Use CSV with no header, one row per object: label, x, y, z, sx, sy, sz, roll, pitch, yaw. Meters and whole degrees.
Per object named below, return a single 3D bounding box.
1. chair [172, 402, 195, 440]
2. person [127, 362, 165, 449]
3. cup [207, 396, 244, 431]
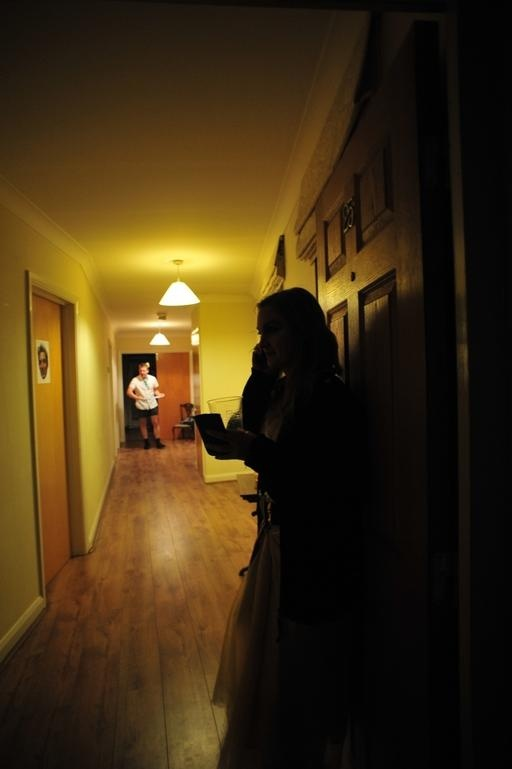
chair,-1.551,0.768,10.600,0.427,0.650,1.111,-2,0,-10
person,-2.128,0.388,9.956,0.603,1.251,2.348,-2,0,-11
cup,-0.065,0.054,1.095,0.055,0.079,0.060,-9,-1,0
